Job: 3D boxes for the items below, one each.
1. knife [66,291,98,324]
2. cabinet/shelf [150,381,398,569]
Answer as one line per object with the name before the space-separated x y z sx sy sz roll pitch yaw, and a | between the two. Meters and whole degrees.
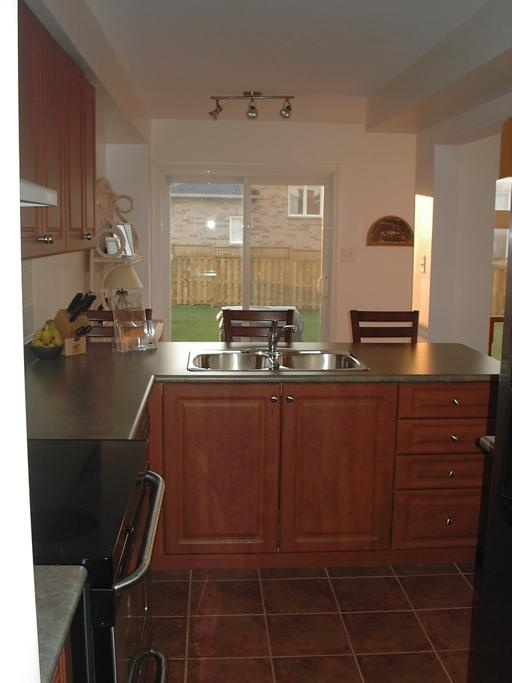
knife | -0.858 -0.177 2.651 0.100 0.191 0.063 23 -22 -1
cabinet/shelf | 0.186 0.634 2.590 1.109 0.776 0.568 -5 -16 19
